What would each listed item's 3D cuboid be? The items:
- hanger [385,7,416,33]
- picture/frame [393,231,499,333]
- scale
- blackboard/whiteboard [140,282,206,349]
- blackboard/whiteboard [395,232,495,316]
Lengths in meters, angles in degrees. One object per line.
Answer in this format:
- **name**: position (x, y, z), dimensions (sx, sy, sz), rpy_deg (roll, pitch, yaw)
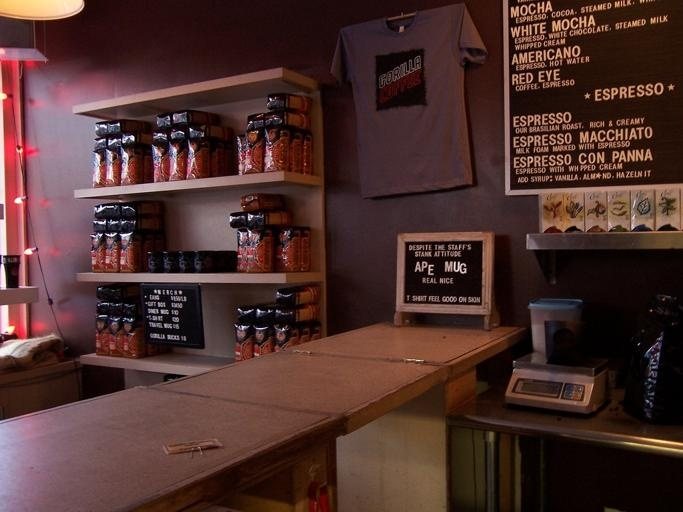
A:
- **hanger**: position (0.351, -1.328, 3.233), dimensions (0.188, 0.133, 0.064), rpy_deg (7, 8, 28)
- **picture/frame**: position (0.575, 0.131, 3.035), dimensions (0.466, 0.471, 0.221), rpy_deg (-2, -10, 22)
- **scale**: position (0.945, 0.529, 2.436), dimensions (0.405, 0.174, 0.426), rpy_deg (-3, 3, 32)
- **blackboard/whiteboard**: position (-1.080, 0.376, 3.604), dimensions (0.034, 0.373, 0.501), rpy_deg (-13, -13, 25)
- **blackboard/whiteboard**: position (0.575, 0.099, 3.027), dimensions (0.439, 0.383, 0.035), rpy_deg (0, -3, 24)
